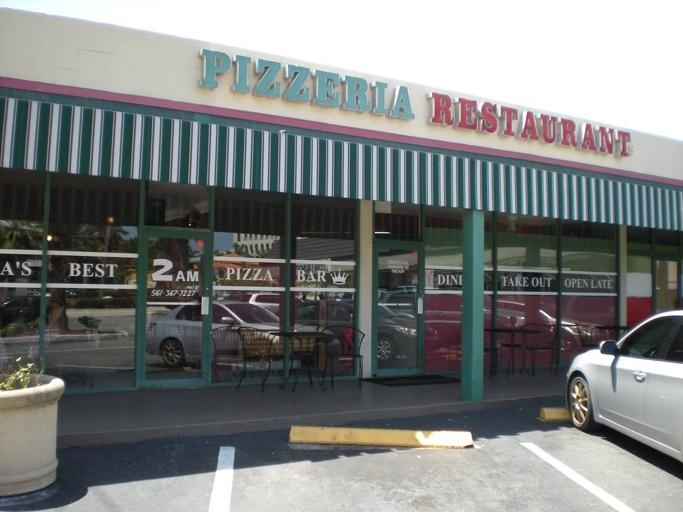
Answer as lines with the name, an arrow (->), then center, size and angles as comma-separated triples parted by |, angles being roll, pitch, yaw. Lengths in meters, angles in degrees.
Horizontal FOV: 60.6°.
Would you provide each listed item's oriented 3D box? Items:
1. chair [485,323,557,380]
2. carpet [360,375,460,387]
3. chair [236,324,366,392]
chair -> 4.039, 2.171, 13.220 | 1.260, 0.693, 1.295 | -5, -7, 38
carpet -> 1.357, 2.470, 11.489 | 1.841, 0.109, 1.011 | 0, -6, -17
chair -> -0.713, 1.904, 11.051 | 2.476, 1.110, 0.674 | 0, -5, -22
